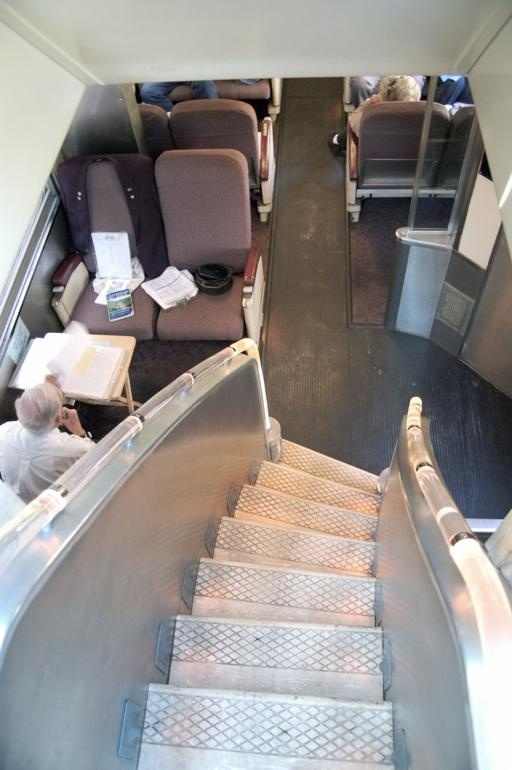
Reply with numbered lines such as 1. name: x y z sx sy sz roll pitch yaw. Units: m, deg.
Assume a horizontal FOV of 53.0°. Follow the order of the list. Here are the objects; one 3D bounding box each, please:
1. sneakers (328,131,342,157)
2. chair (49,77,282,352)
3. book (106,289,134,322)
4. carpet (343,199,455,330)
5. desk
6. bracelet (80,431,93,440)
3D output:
1. sneakers: 0.945 -2.615 5.603 0.112 0.269 0.168 4 3 5
2. chair: -0.807 -1.367 4.019 1.669 1.817 1.888 -1 43 5
3. book: -1.116 -0.583 3.826 0.219 0.037 0.276 -10 61 -6
4. carpet: 1.322 -1.101 4.620 0.961 0.064 2.450 0 64 18
5. desk: -1.237 -0.112 3.346 0.647 0.618 0.540 4 76 5
6. bracelet: -1.194 0.326 3.283 0.074 0.050 0.069 -11 3 -22
